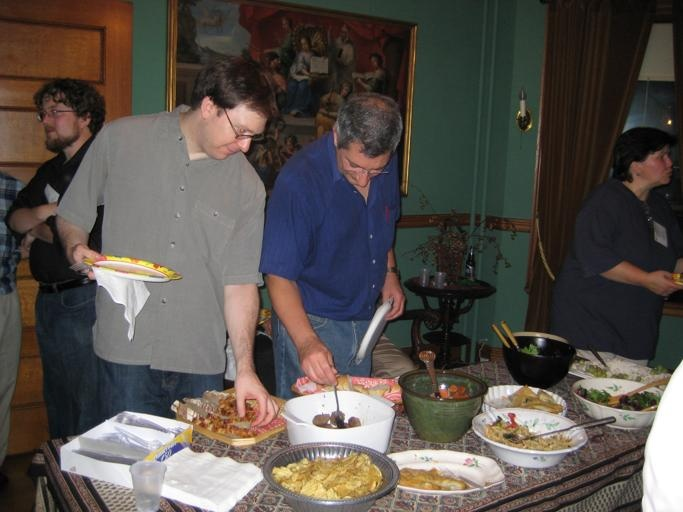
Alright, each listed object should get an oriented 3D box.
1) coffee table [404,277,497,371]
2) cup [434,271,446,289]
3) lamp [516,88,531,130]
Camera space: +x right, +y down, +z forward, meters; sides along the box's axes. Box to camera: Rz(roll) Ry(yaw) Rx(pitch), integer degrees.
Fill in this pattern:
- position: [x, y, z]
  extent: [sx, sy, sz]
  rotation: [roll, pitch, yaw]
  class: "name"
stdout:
- position: [0.985, 0.665, 5.133]
  extent: [0.672, 0.758, 0.718]
  rotation: [-3, -5, 24]
  class: "coffee table"
- position: [0.922, 0.211, 5.033]
  extent: [0.122, 0.138, 0.123]
  rotation: [1, -6, 0]
  class: "cup"
- position: [1.793, -1.427, 5.400]
  extent: [0.152, 0.394, 0.114]
  rotation: [3, 9, 17]
  class: "lamp"
